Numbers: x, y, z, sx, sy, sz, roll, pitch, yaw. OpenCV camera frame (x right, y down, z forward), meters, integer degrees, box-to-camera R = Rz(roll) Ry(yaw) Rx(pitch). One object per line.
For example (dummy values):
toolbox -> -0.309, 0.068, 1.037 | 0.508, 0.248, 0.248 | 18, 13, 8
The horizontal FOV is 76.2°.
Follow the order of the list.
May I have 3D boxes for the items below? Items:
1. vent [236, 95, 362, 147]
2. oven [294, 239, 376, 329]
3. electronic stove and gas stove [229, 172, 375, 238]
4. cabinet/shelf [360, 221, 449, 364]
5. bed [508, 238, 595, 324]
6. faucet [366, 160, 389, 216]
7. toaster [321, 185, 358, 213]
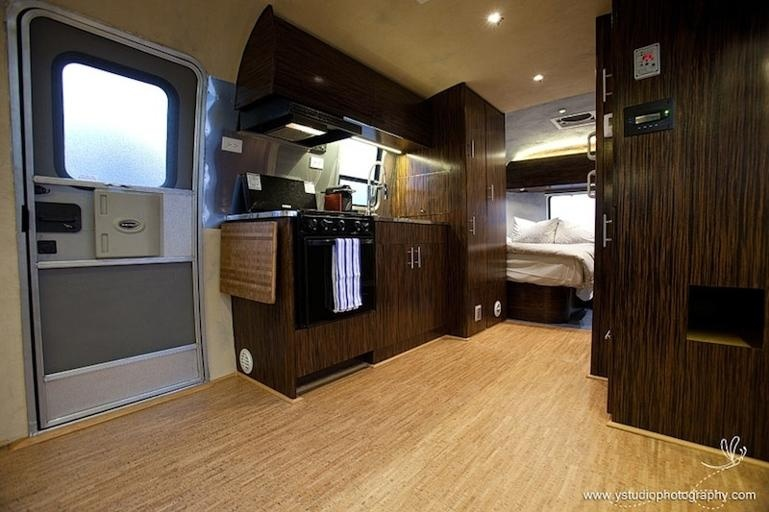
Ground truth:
vent -> -0.723, -1.131, 4.187 | 0.565, 0.174, 0.845 | -8, -2, 30
oven -> -0.419, 0.217, 3.869 | 0.245, 0.676, 0.714 | -1, 1, 39
electronic stove and gas stove -> -0.707, -0.428, 4.107 | 1.035, 0.558, 0.766 | -5, 5, -42
cabinet/shelf -> 0.150, 0.341, 4.450 | 1.149, 1.400, 0.460 | -5, 7, -44
bed -> 2.066, 0.301, 5.815 | 0.777, 0.582, 0.996 | 0, 3, 38
faucet -> -0.093, -0.685, 5.207 | 0.230, 0.600, 0.162 | -1, 8, -20
toaster -> -0.430, -0.507, 4.511 | 0.263, 0.289, 0.291 | -2, 1, 25
